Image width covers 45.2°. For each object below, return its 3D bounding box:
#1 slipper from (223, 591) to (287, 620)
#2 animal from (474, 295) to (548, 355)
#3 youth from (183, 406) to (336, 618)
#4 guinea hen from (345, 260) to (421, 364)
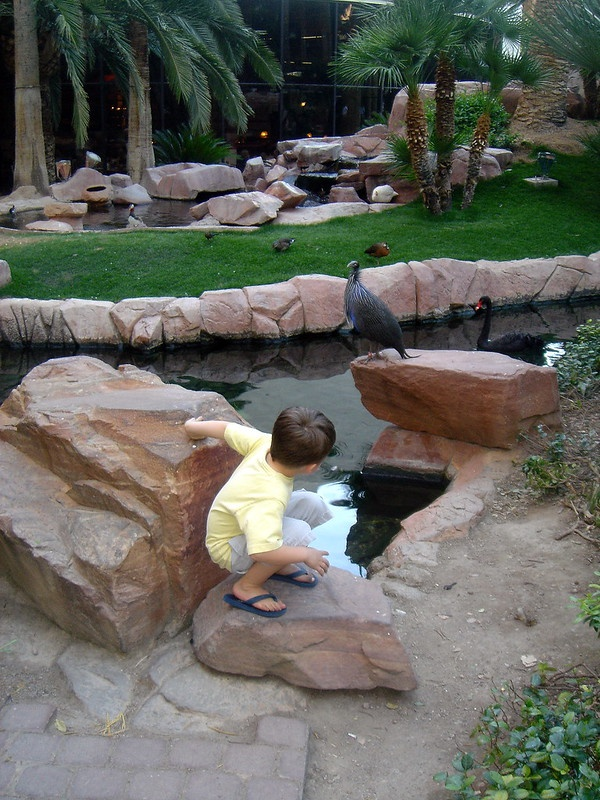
[{"bbox_3d":[-0.167,0.765,2.751,0.183,0.050,0.094,8,14,25],"label":"slipper"},{"bbox_3d":[2.275,-0.740,7.719,0.670,0.517,0.926,4,20,16],"label":"animal"},{"bbox_3d":[-0.168,0.357,2.860,0.537,0.815,0.808,-10,30,-25],"label":"youth"},{"bbox_3d":[0.583,-0.723,5.798,0.291,0.588,1.252,-7,20,-9],"label":"guinea hen"}]
